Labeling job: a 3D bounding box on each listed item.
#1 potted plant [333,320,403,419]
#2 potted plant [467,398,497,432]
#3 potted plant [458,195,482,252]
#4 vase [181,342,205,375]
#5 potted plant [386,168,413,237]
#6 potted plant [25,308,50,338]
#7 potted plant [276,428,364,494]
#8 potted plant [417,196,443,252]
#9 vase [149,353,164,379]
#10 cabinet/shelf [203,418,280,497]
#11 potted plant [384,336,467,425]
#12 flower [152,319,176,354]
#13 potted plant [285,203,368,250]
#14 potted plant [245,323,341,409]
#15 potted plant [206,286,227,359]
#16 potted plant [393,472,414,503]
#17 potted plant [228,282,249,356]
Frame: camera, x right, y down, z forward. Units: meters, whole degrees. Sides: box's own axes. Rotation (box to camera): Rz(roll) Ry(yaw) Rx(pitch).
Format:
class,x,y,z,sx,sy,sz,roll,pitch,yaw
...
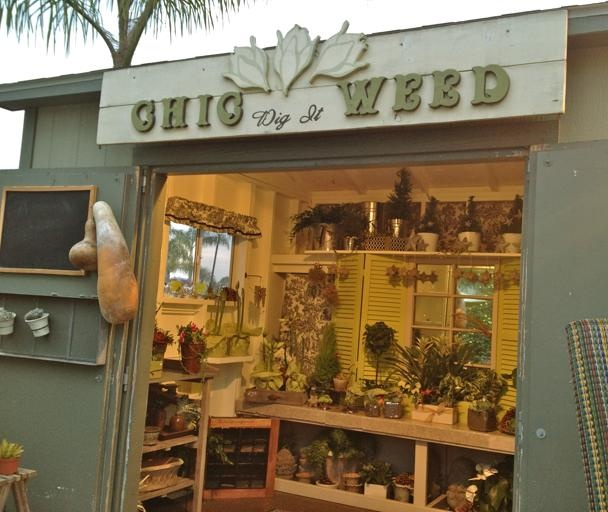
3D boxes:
class,x,y,z,sx,sy,sz,roll,pitch,yaw
potted plant,0.741,1.171,6.460,0.791,1.258,0.679,5,-6,-22
potted plant,1.641,1.444,5.605,0.270,0.273,0.238,3,-6,13
potted plant,1.815,-0.368,6.700,0.263,0.698,0.481,2,-6,15
vase,-0.875,0.776,4.743,0.201,0.256,0.216,0,1,-4
potted plant,1.094,-0.588,6.977,0.299,0.798,0.401,2,-6,10
potted plant,-1.733,0.438,4.031,0.151,0.198,0.169,-4,-8,-12
potted plant,0.193,2.067,6.176,0.718,0.418,0.549,0,-5,28
potted plant,1.405,-0.374,6.852,0.254,0.702,0.444,2,-6,12
vase,-1.073,0.785,4.418,0.120,0.229,0.133,1,-5,-5
cabinet/shelf,-0.647,1.947,5.967,0.806,0.928,0.453,7,-9,-32
potted plant,1.236,1.202,6.137,0.763,0.786,0.646,2,-6,16
flower,-1.052,0.588,4.515,0.190,0.229,0.205,-1,-4,-8
potted plant,0.310,-0.395,7.300,0.611,0.411,0.628,-2,-1,33
potted plant,-0.095,1.138,6.579,0.956,0.898,0.669,4,-6,4
potted plant,-0.911,0.649,6.361,0.208,0.704,0.949,4,-6,-7
potted plant,0.937,2.188,5.814,0.199,0.215,0.359,3,-6,9
potted plant,-0.713,0.672,6.662,0.206,0.702,0.751,4,-6,-6
